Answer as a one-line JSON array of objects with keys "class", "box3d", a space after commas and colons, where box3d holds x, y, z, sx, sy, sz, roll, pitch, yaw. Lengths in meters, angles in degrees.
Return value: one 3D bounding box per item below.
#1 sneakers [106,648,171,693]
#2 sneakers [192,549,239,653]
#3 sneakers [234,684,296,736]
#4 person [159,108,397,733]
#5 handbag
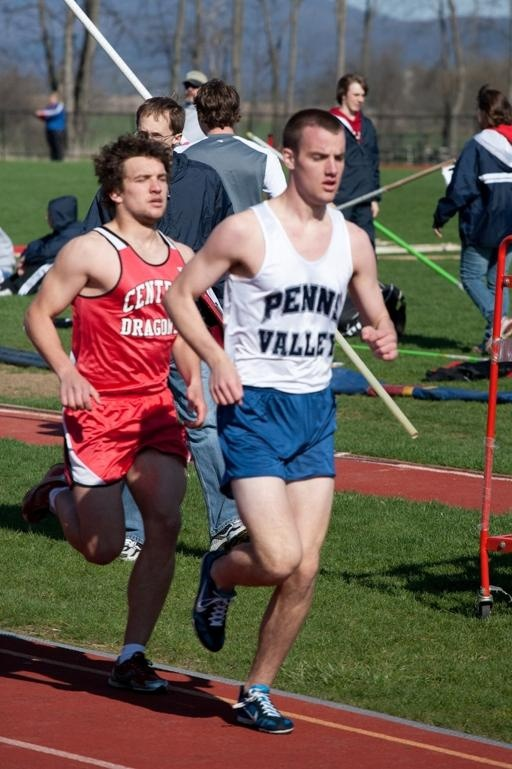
[{"class": "sneakers", "box3d": [-0.373, 0.885, 2.950, 0.204, 0.112, 0.097, 4, -1, 27]}, {"class": "sneakers", "box3d": [-0.104, 0.694, 3.010, 0.126, 0.314, 0.147, -4, 2, -34]}, {"class": "sneakers", "box3d": [0.028, 0.906, 2.646, 0.108, 0.104, 0.229, 8, -6, -33]}, {"class": "person", "box3d": [0.044, 0.087, 2.774, 0.505, 1.746, 0.610, 9, 14, 35]}, {"class": "handbag", "box3d": [1.380, -0.776, 10.438, 0.564, 0.646, 0.762, 14, 2, 32]}]
